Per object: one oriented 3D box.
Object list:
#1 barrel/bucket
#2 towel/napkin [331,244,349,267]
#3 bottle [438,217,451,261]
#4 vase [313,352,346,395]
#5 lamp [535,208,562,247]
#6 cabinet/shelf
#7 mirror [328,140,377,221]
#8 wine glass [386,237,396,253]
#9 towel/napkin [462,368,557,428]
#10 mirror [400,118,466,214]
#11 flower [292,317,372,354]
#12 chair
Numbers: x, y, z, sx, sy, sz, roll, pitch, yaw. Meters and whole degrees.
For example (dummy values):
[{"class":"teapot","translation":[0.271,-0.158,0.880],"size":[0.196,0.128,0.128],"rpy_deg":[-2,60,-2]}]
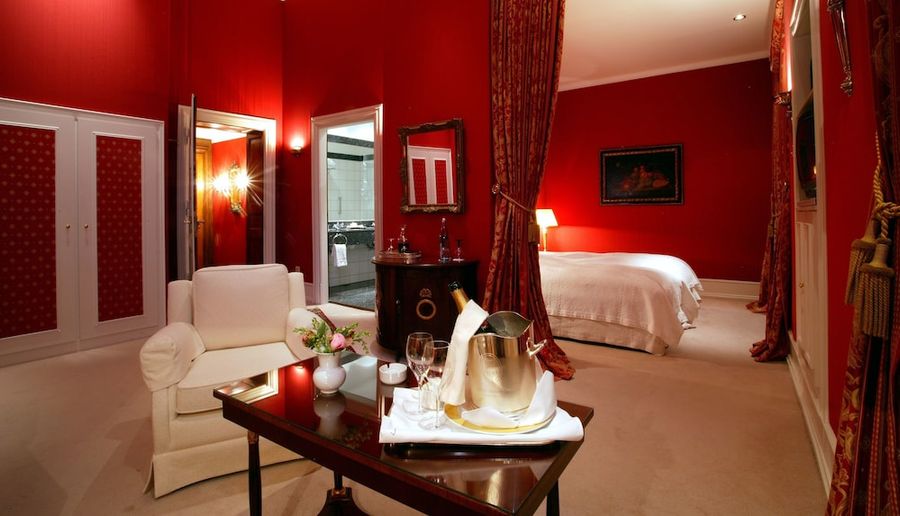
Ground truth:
[{"class":"barrel/bucket","translation":[0.388,0.759,3.857],"size":[0.607,0.513,0.384],"rpy_deg":[-5,11,-23]},{"class":"towel/napkin","translation":[-1.967,-0.026,9.670],"size":[0.138,0.381,0.392],"rpy_deg":[-3,1,23]},{"class":"bottle","translation":[-0.061,-0.225,6.466],"size":[0.145,0.469,0.463],"rpy_deg":[-3,7,-1]},{"class":"vase","translation":[-0.942,0.898,4.304],"size":[0.281,0.355,0.283],"rpy_deg":[-2,4,-20]},{"class":"lamp","translation":[1.755,-0.508,9.776],"size":[0.355,0.745,0.589],"rpy_deg":[-1,7,13]},{"class":"cabinet/shelf","translation":[-0.324,0.579,6.581],"size":[1.383,1.322,0.801],"rpy_deg":[2,17,0]},{"class":"mirror","translation":[-2.185,-1.629,11.762],"size":[1.204,1.880,1.160],"rpy_deg":[3,6,41]},{"class":"wine glass","translation":[-0.778,-0.185,7.001],"size":[0.187,0.162,0.091],"rpy_deg":[3,9,40]},{"class":"towel/napkin","translation":[0.338,1.027,4.010],"size":[0.687,0.271,0.674],"rpy_deg":[-2,-15,17]},{"class":"mirror","translation":[-0.175,-1.132,6.628],"size":[1.163,1.394,0.156],"rpy_deg":[-1,1,29]},{"class":"flower","translation":[-1.078,0.710,4.906],"size":[0.557,0.262,0.569],"rpy_deg":[4,-11,17]},{"class":"chair","translation":[-2.006,0.979,5.073],"size":[1.650,1.712,1.582],"rpy_deg":[-7,8,-42]}]
